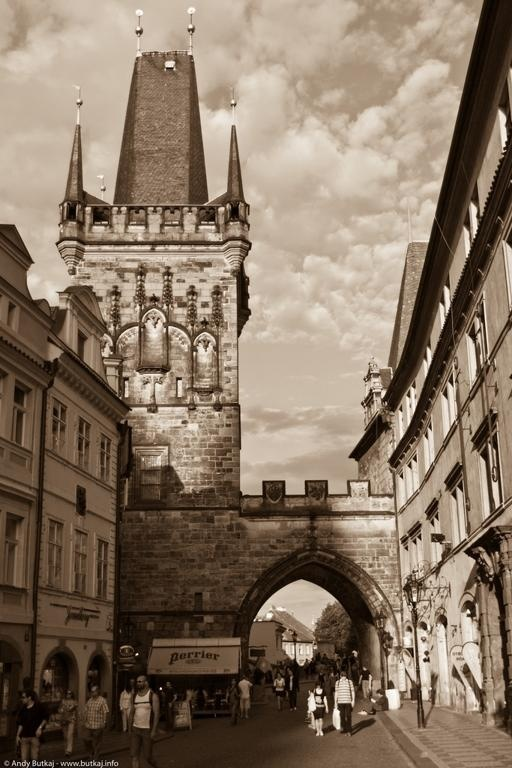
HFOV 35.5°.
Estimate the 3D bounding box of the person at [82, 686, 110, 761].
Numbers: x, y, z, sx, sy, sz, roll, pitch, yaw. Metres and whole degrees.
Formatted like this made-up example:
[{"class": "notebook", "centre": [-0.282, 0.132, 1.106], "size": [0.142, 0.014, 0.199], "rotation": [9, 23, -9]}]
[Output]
[{"class": "person", "centre": [-2.028, 4.343, 10.162], "size": [0.273, 0.887, 0.634], "rotation": [3, -14, -11]}]
